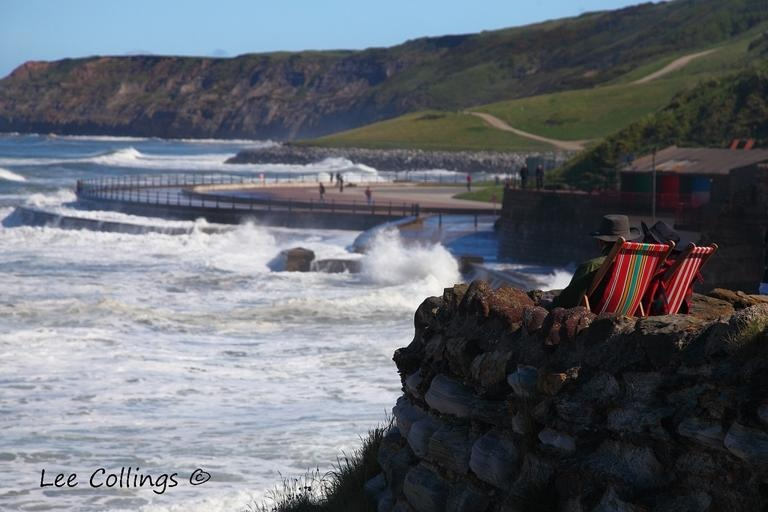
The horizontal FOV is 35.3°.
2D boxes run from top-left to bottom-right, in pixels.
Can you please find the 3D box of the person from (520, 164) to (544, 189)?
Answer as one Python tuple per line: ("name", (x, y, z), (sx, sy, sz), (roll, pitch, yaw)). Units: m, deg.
("person", (6.677, -3.604, 53.984), (1.300, 1.257, 0.358), (-1, -5, 18))
